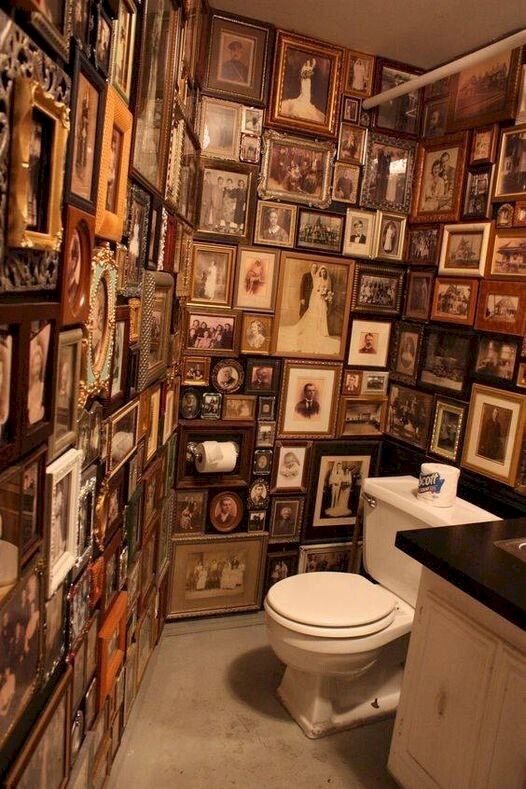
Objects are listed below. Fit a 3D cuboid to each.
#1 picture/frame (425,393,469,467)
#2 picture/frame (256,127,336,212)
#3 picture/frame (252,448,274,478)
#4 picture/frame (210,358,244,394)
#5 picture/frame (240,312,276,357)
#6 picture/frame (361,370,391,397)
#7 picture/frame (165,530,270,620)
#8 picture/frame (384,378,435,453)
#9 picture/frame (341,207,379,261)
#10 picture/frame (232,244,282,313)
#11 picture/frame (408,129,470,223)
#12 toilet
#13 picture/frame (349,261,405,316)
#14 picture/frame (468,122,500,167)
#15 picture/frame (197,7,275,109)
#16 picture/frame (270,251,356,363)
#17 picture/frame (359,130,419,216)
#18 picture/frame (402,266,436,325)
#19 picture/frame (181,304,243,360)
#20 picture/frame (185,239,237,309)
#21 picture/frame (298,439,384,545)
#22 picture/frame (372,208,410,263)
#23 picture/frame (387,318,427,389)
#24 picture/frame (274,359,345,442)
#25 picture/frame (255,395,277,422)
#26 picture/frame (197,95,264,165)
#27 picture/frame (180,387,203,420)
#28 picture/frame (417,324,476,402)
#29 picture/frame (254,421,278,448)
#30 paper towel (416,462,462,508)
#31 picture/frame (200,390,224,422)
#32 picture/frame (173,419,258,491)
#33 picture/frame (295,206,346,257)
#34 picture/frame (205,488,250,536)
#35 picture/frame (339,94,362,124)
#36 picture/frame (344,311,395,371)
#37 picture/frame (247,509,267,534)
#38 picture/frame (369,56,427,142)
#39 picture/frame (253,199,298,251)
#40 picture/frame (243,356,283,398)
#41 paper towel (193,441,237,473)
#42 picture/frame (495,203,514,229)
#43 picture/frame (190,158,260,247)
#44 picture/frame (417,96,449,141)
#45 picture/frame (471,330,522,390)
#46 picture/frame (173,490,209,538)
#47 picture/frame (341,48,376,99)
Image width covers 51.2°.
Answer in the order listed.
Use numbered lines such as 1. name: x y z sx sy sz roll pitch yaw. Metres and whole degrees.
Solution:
1. picture/frame: 0.728 0.138 2.142 0.031 0.291 0.202 2 10 -18
2. picture/frame: 0.117 -0.901 2.187 0.280 0.282 0.021 1 11 -28
3. picture/frame: -0.007 0.286 2.365 0.108 0.173 0.016 -1 11 -24
4. picture/frame: -0.158 -0.079 2.248 0.122 0.146 0.006 -1 9 -35
5. picture/frame: -0.031 -0.253 2.255 0.140 0.198 0.022 -4 11 -27
6. picture/frame: 0.510 -0.053 2.498 0.097 0.109 0.007 -1 9 -26
7. picture/frame: -0.217 0.751 2.326 0.395 0.388 0.019 0 5 -27
8. picture/frame: 0.645 0.091 2.373 0.017 0.278 0.243 -1 14 -22
9. picture/frame: 0.407 -0.688 2.335 0.184 0.284 0.026 -3 14 -26
10. picture/frame: -0.034 -0.461 2.223 0.182 0.294 0.021 1 40 -7
11. picture/frame: 0.720 -0.875 2.202 0.026 0.448 0.336 -2 12 -21
12. toilet: 0.349 0.728 1.904 0.617 0.733 0.501 1 10 -21
13. picture/frame: 0.492 -0.468 2.406 0.199 0.207 0.018 1 12 -26
14. picture/frame: 0.810 -0.900 1.986 0.015 0.189 0.145 1 15 -15
15. picture/frame: -0.100 -1.230 2.037 0.257 0.341 0.021 7 -8 -9
16. picture/frame: 0.214 -0.360 2.320 0.317 0.497 0.017 4 36 0
17. picture/frame: 0.528 -0.941 2.324 0.294 0.408 0.019 0 13 -31
18. picture/frame: 0.676 -0.420 2.342 0.025 0.288 0.191 1 12 -23
19. picture/frame: -0.219 -0.255 2.187 0.183 0.185 0.015 -1 12 -23
20. picture/frame: -0.218 -0.476 2.145 0.231 0.326 0.020 -1 13 -30
21. picture/frame: 0.359 0.434 2.518 0.310 0.505 0.018 0 20 -11
22. picture/frame: 0.553 -0.695 2.383 0.173 0.244 0.022 -6 16 -27
23. picture/frame: 0.641 -0.183 2.400 0.022 0.360 0.231 1 7 -24
24. picture/frame: 0.187 0.012 2.379 0.286 0.417 0.028 1 10 -27
25. picture/frame: 0.005 0.056 2.325 0.088 0.121 0.008 -5 13 -32
26. picture/frame: -0.138 -0.997 2.070 0.245 0.251 0.019 -1 10 -23
27. picture/frame: -0.301 0.036 2.216 0.088 0.121 0.022 2 3 -31
28. picture/frame: 0.739 -0.124 2.165 0.021 0.270 0.237 0 12 -20
29. picture/frame: 0.005 0.164 2.341 0.093 0.146 0.013 -3 13 -28
30. paper towel: 0.596 0.296 1.887 0.123 0.143 0.126 3 4 -17
31. picture/frame: -0.220 0.042 2.248 0.102 0.159 0.017 -3 12 -27
32. picture/frame: -0.215 0.236 2.242 0.250 0.260 0.029 -2 10 -26
33. picture/frame: 0.228 -0.676 2.268 0.183 0.162 0.014 -2 12 -27
34. picture/frame: -0.165 0.489 2.338 0.177 0.215 0.019 -2 8 -32
35. picture/frame: 0.351 -1.153 2.224 0.099 0.128 0.009 -5 17 -29
36. picture/frame: 0.466 -0.247 2.450 0.217 0.264 0.017 0 13 -27
37. picture/frame: -0.035 0.549 2.401 0.094 0.126 0.011 -1 9 -27
38. picture/frame: 0.543 -1.201 2.223 0.265 0.344 0.023 0 11 -32
39. picture/frame: 0.040 -0.682 2.205 0.171 0.208 0.014 -3 12 -28
40. picture/frame: -0.012 -0.079 2.298 0.135 0.165 0.012 -3 11 -28
41. paper towel: -0.181 0.252 2.224 0.199 0.121 0.118 4 5 -28
42. picture/frame: 0.855 -0.620 1.925 0.008 0.112 0.084 0 9 -16
43. picture/frame: -0.153 -0.737 2.128 0.250 0.365 0.030 6 -17 -7
44. picture/frame: 0.704 -1.120 2.237 0.019 0.220 0.182 -5 16 -22
45. picture/frame: 0.841 -0.121 1.946 0.011 0.197 0.171 -1 8 -22
46. picture/frame: -0.312 0.482 2.269 0.176 0.289 0.028 -1 7 -31
47. picture/frame: 0.377 -1.281 2.198 0.162 0.204 0.013 -7 18 -32
